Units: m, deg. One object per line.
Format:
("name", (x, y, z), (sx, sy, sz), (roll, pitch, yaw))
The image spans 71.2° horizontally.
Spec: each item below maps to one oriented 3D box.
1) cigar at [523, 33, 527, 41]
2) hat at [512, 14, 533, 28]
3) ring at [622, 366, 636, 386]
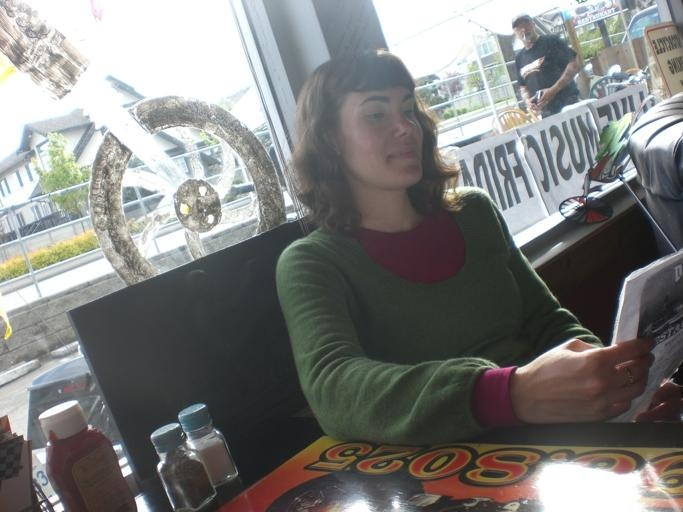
("cigar", (1.136, -1.343, 2.945), (0.025, 0.027, 0.006), (-1, 4, -11))
("hat", (1.127, -1.445, 2.944), (0.138, 0.083, 0.045), (-16, 7, -18))
("ring", (0.448, 0.185, 0.738), (0.008, 0.025, 0.020), (-16, -29, 32))
